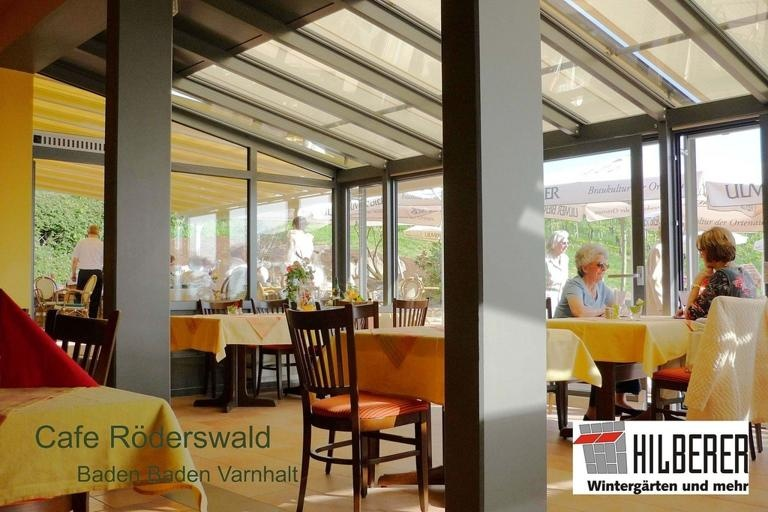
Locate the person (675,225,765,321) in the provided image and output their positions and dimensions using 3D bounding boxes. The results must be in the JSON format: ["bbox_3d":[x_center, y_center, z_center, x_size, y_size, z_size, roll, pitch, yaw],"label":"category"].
[{"bbox_3d":[2.715,0.164,4.627,0.577,0.741,0.616,-1,5,-23],"label":"person"}]

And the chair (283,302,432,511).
[{"bbox_3d":[-0.133,0.913,3.512,0.817,1.220,0.814,-2,-5,9],"label":"chair"}]

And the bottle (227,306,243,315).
[{"bbox_3d":[-1.692,0.622,6.434,0.146,0.083,0.141,0,-6,0],"label":"bottle"}]
